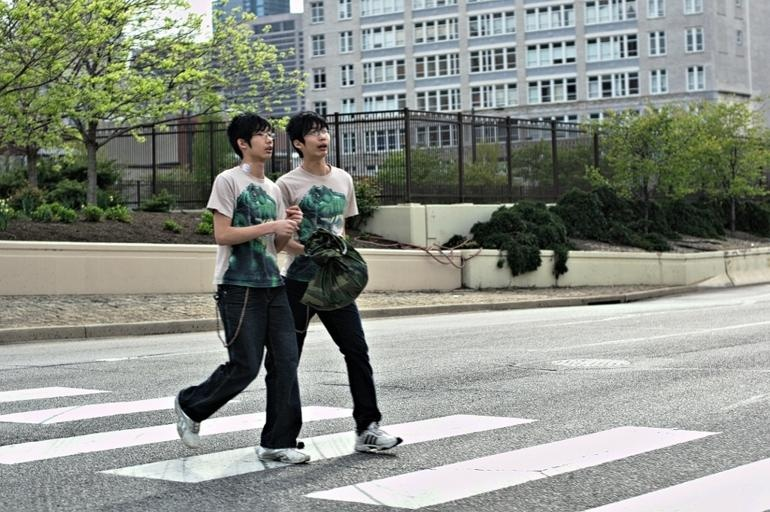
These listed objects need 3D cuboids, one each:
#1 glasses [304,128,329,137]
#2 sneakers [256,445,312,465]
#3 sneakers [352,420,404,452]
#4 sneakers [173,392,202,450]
[{"bbox_3d":[-0.631,-1.136,6.831,0.132,0.036,0.125,-4,-3,-29],"label":"glasses"},{"bbox_3d":[-0.860,1.698,6.483,0.471,0.210,0.165,1,6,-2],"label":"sneakers"},{"bbox_3d":[-0.085,1.614,6.729,0.500,0.280,0.194,-1,4,8],"label":"sneakers"},{"bbox_3d":[-1.683,1.441,6.474,0.201,0.496,0.184,-13,1,21],"label":"sneakers"}]
